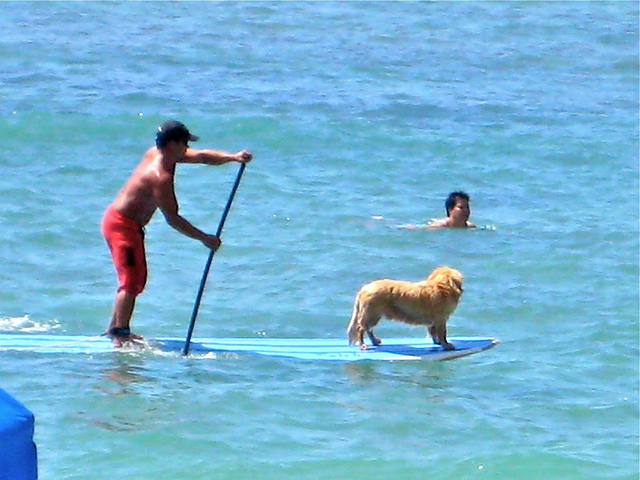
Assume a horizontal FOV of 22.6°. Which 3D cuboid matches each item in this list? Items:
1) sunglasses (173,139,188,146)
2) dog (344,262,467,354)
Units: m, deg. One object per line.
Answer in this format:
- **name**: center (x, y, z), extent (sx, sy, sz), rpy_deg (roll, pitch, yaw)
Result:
- **sunglasses**: center (-1.873, -1.307, 21.246), extent (0.046, 0.096, 0.219), rpy_deg (14, 17, 40)
- **dog**: center (1.280, 0.947, 21.820), extent (1.836, 0.946, 0.669), rpy_deg (-2, -6, 23)
